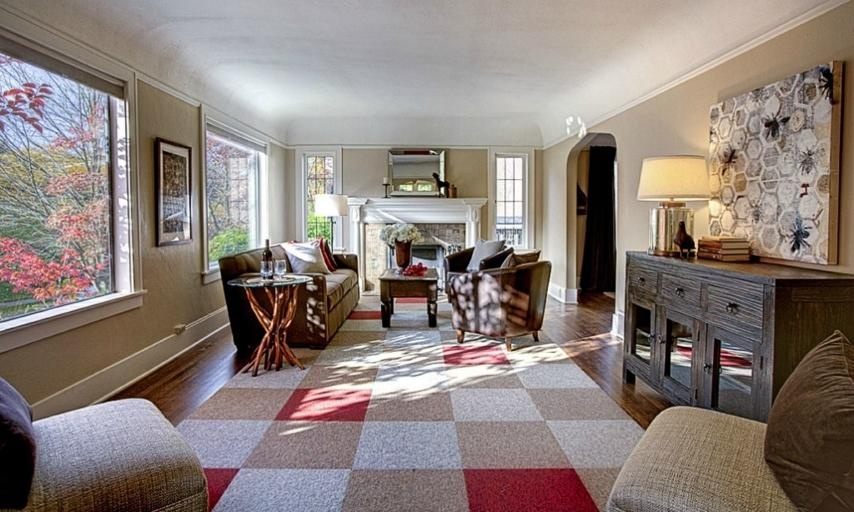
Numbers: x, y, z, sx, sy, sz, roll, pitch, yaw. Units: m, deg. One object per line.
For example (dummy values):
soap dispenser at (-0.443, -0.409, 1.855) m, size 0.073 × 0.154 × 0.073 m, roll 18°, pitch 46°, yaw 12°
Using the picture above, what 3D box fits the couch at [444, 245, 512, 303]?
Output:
couch at (0.784, 0.194, 6.868) m, size 0.844 × 0.861 × 1.007 m, roll 7°, pitch -6°, yaw -30°

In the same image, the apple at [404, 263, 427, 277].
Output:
apple at (-0.170, 0.198, 6.691) m, size 0.254 × 0.110 × 0.186 m, roll -11°, pitch 3°, yaw 11°

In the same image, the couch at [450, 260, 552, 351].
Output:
couch at (0.880, 0.504, 5.969) m, size 1.065 × 1.079 × 1.158 m, roll 5°, pitch 4°, yaw 39°

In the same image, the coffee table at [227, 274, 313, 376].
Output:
coffee table at (-1.667, 0.702, 5.488) m, size 1.042 × 1.046 × 0.973 m, roll 1°, pitch 2°, yaw 6°

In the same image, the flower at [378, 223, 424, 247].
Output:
flower at (-0.387, -0.314, 7.243) m, size 0.470 × 0.289 × 0.424 m, roll 1°, pitch 1°, yaw 36°

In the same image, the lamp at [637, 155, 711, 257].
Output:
lamp at (2.259, -0.474, 4.487) m, size 0.495 × 0.909 × 0.364 m, roll -3°, pitch 7°, yaw -14°

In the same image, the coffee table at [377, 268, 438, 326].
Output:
coffee table at (-0.454, 0.666, 6.707) m, size 1.155 × 0.619 × 1.115 m, roll -3°, pitch -9°, yaw 0°

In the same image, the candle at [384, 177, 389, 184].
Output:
candle at (-0.748, -1.368, 8.799) m, size 0.115 × 0.120 × 0.111 m, roll 0°, pitch 2°, yaw -5°

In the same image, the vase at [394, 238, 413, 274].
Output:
vase at (-0.350, -0.013, 7.063) m, size 0.383 × 0.459 × 0.380 m, roll 0°, pitch -5°, yaw 0°
